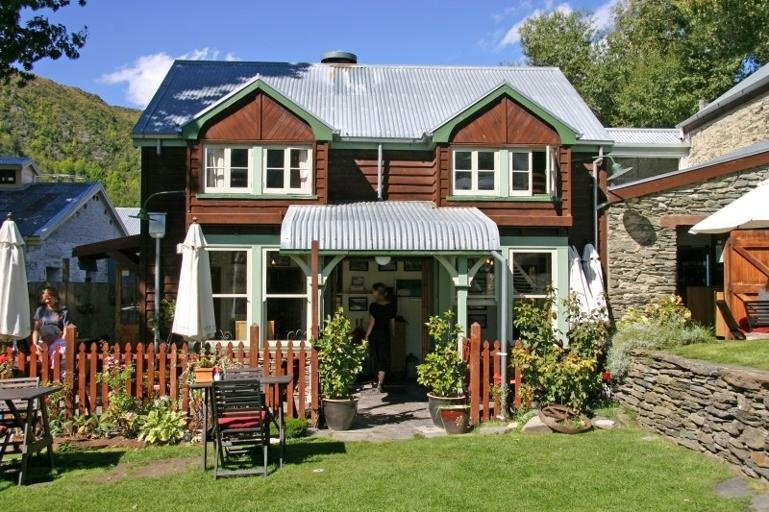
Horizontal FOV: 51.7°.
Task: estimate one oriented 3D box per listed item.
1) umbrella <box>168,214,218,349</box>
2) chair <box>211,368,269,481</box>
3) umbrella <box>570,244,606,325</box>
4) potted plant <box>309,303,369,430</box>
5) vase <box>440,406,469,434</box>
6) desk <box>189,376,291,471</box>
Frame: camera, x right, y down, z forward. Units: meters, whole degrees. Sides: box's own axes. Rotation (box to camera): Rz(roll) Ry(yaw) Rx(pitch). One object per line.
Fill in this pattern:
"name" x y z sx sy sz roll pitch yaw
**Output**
"umbrella" -5.529 0.706 22.854 1.117 3.487 0.699 -1 -9 -15
"chair" -3.714 4.370 20.382 1.420 2.415 1.336 -2 -9 -8
"umbrella" 6.948 0.744 26.955 1.256 2.428 1.346 -8 -10 31
"potted plant" -1.295 3.208 22.591 1.427 3.436 0.888 -4 -8 8
"vase" 2.010 4.599 22.335 0.720 0.570 0.737 -10 -13 36
"desk" -3.632 4.528 20.795 2.034 1.932 2.542 0 -22 -6
